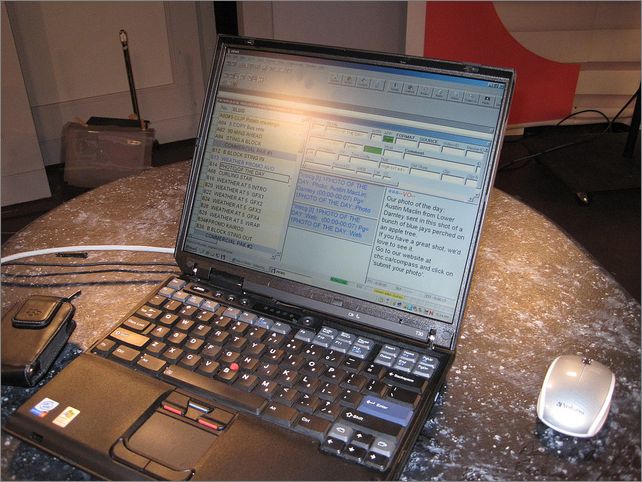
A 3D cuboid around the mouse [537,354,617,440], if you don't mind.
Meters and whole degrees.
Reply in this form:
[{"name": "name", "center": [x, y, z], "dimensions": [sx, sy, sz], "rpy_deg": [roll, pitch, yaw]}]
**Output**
[{"name": "mouse", "center": [0.328, 0.186, 0.615], "dimensions": [0.087, 0.033, 0.124], "rpy_deg": [16, 46, 29]}]
